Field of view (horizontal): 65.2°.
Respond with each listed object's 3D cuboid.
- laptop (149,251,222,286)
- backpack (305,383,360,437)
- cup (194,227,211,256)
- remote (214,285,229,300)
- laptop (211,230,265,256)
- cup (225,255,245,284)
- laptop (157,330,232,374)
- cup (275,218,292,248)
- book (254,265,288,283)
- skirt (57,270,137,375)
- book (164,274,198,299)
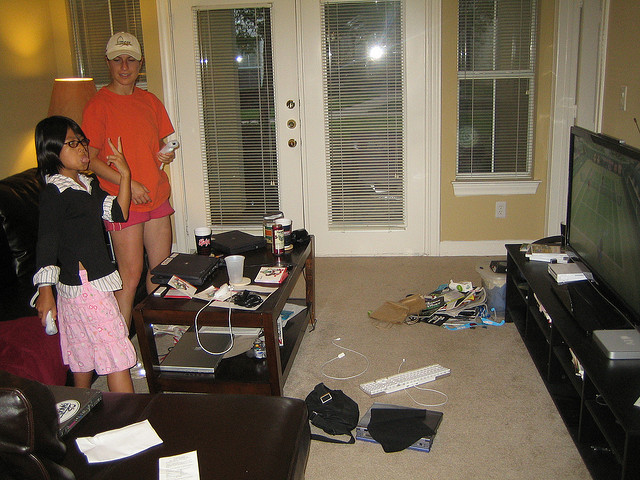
[{"bbox_3d":[-0.738,0.162,2.775,0.353,0.085,0.385,2,19,-14],"label":"laptop"},{"bbox_3d":[0.066,0.872,2.535,0.335,0.079,0.250,10,21,34],"label":"backpack"},{"bbox_3d":[-0.712,0.021,3.036,0.106,0.176,0.106,1,16,0],"label":"cup"},{"bbox_3d":[-0.497,0.264,2.521,0.076,0.045,0.068,-6,18,-13],"label":"remote"},{"bbox_3d":[-0.546,0.018,3.136,0.331,0.072,0.263,9,21,33],"label":"laptop"},{"bbox_3d":[-0.446,0.156,2.610,0.123,0.132,0.126,-1,2,0],"label":"cup"},{"bbox_3d":[-0.658,0.614,2.758,0.325,0.060,0.397,0,17,6],"label":"laptop"},{"bbox_3d":[-0.229,-0.047,3.075,0.094,0.172,0.133,-3,17,-4],"label":"cup"},{"bbox_3d":[-0.260,0.184,2.708,0.159,0.039,0.184,2,18,13],"label":"book"},{"bbox_3d":[-1.092,0.390,2.380,0.349,0.539,0.130,0,17,8],"label":"skirt"},{"bbox_3d":[-0.713,0.244,2.572,0.157,0.085,0.117,3,18,16],"label":"book"}]
